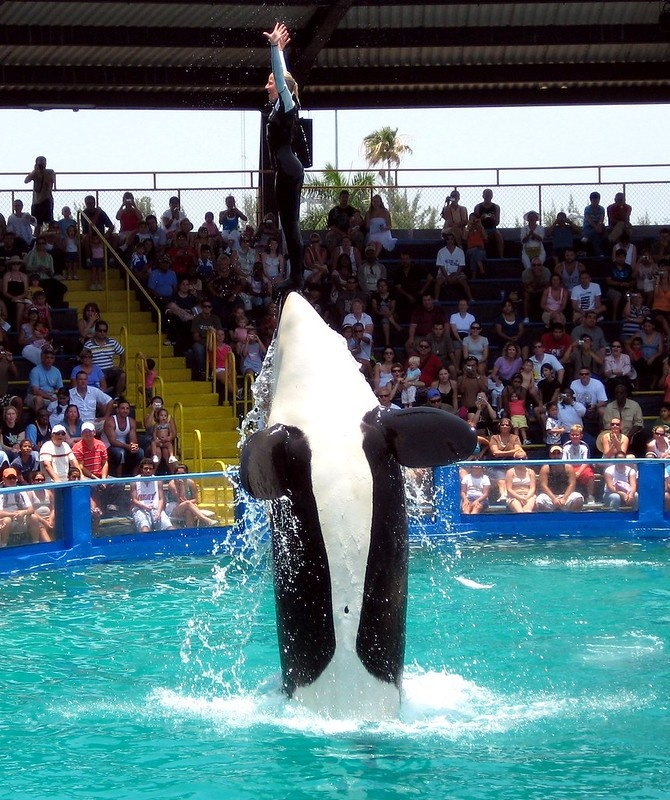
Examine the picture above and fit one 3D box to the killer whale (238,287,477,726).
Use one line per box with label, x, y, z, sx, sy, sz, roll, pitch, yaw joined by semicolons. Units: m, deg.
killer whale;0.051;0.606;6.638;0.990;2.320;0.675;0;5;4
